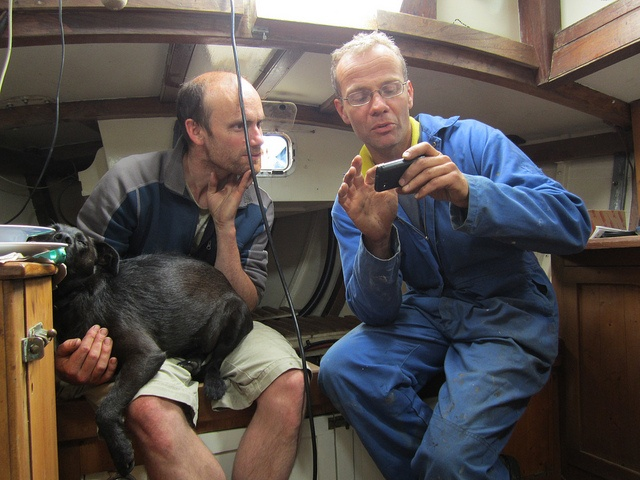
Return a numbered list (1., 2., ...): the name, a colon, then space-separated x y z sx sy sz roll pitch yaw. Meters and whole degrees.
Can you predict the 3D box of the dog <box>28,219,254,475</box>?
1. dog: -0.671 0.432 2.117 0.666 0.423 0.921 38 10 32
